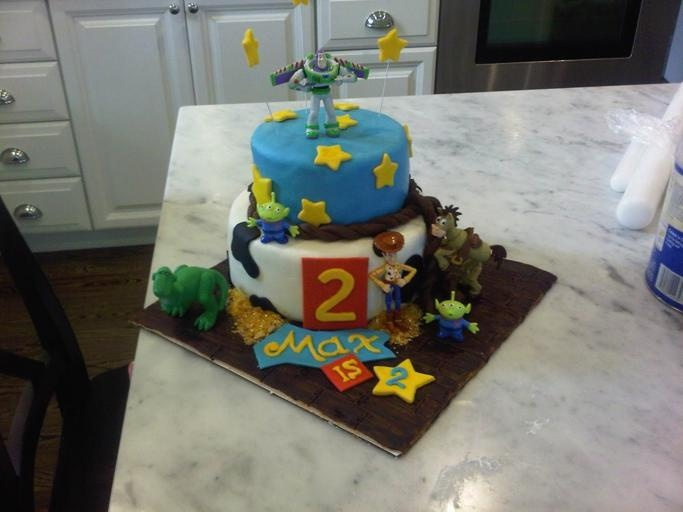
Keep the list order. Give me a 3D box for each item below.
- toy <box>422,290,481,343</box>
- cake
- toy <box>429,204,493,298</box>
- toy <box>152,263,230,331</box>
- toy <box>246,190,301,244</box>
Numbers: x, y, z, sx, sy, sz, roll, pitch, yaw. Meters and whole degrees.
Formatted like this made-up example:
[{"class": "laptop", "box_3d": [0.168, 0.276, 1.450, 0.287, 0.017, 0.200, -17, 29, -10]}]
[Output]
[{"class": "toy", "box_3d": [0.193, 0.109, 0.887, 0.073, 0.069, 0.032, 7, 10, 20]}, {"class": "cake", "box_3d": [-0.028, -0.134, 1.023, 0.440, 0.503, 0.453, -2, 36, 0]}, {"class": "toy", "box_3d": [0.227, -0.004, 0.951, 0.109, 0.178, 0.101, 24, 47, 32]}, {"class": "toy", "box_3d": [-0.269, 0.056, 0.931, 0.129, 0.093, 0.100, -18, 33, -40]}, {"class": "toy", "box_3d": [-0.115, -0.067, 0.873, 0.083, 0.085, 0.044, 2, 16, 4]}]
